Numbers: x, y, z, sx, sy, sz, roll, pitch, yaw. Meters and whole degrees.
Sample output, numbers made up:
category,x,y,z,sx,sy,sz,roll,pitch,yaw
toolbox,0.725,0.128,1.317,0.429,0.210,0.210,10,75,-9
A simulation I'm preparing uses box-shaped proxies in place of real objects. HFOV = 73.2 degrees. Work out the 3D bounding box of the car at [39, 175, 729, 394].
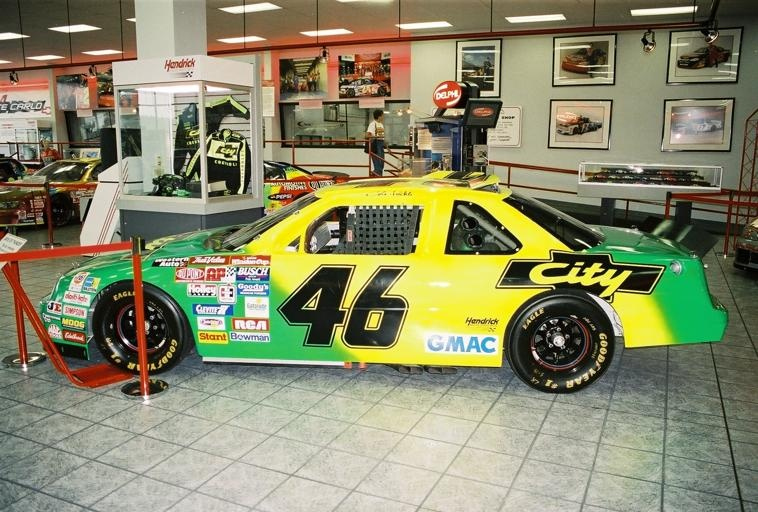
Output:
category,x,y,z,sx,sy,sz,roll,pitch,yaw
car,-0.059,0.221,5.380,6.227,1.282,2.379,1,5,4

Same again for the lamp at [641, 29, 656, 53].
category,x,y,z,sx,sy,sz,roll,pitch,yaw
lamp,7.289,-5.826,13.693,0.400,0.573,0.929,9,18,25

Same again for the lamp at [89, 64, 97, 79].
category,x,y,z,sx,sy,sz,roll,pitch,yaw
lamp,-10.726,-6.984,18.973,0.234,0.479,2.385,-10,17,-28

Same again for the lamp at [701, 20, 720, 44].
category,x,y,z,sx,sy,sz,roll,pitch,yaw
lamp,8.318,-5.635,12.725,0.309,0.515,1.760,11,18,30

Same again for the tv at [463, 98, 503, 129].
category,x,y,z,sx,sy,sz,roll,pitch,yaw
tv,1.862,-2.585,9.201,0.638,0.518,0.349,1,17,3
